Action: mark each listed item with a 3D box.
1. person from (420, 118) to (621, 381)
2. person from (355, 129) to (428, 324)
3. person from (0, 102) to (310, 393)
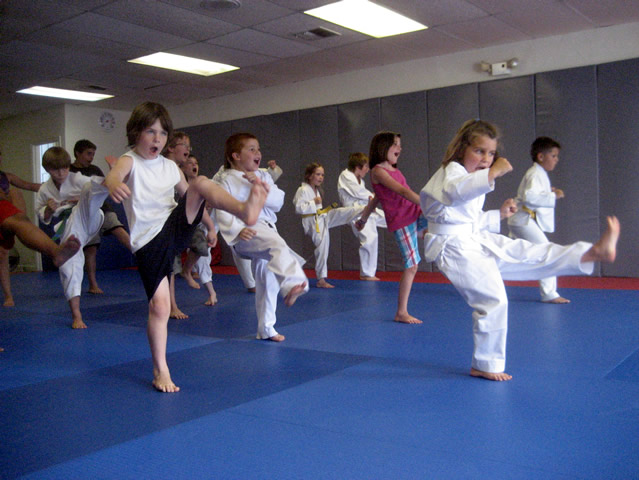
[{"bbox_3d":[1.134,0.052,2.905,1.177,1.406,0.837,6,8,28],"label":"person"},{"bbox_3d":[0.650,-0.121,4.499,0.589,1.671,1.306,0,7,5],"label":"person"},{"bbox_3d":[-0.773,0.021,2.900,0.705,1.612,0.420,-1,7,3],"label":"person"}]
